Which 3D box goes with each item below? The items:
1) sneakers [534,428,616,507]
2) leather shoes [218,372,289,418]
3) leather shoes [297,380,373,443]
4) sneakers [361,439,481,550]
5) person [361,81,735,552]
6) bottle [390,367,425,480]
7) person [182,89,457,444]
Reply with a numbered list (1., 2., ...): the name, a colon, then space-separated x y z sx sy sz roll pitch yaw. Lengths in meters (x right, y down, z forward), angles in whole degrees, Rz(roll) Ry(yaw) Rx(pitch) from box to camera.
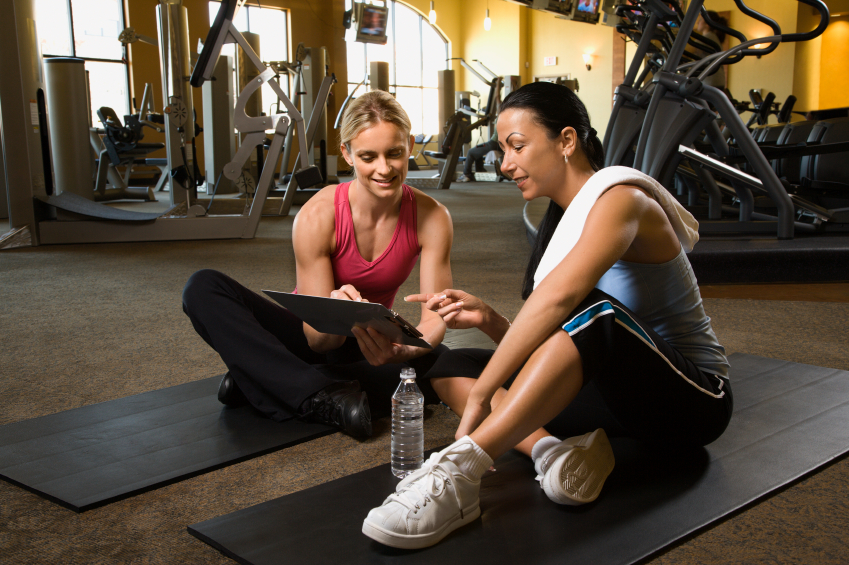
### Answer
1. sneakers: 0.400 0.462 1.544 0.118 0.108 0.262 -29 -7 27
2. leather shoes: -0.562 0.382 1.943 0.225 0.088 0.151 22 -2 9
3. leather shoes: -0.260 0.390 1.882 0.252 0.120 0.127 13 48 23
4. sneakers: 0.013 0.471 1.365 0.341 0.198 0.125 2 -2 -42
5. person: 0.317 0.019 1.511 0.977 1.021 0.502 -3 19 -19
6. bottle: -0.053 0.388 1.646 0.140 0.281 0.134 0 1 0
7. person: -0.180 -0.077 1.854 0.926 0.923 0.923 6 8 3
